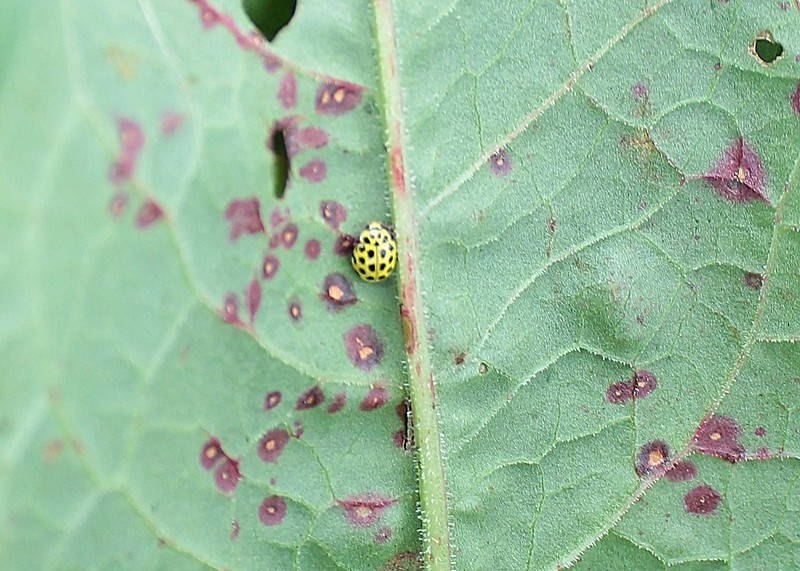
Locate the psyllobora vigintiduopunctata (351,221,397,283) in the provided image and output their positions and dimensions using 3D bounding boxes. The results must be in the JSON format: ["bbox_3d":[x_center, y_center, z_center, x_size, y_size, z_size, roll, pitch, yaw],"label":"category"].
[{"bbox_3d":[-0.075,-0.092,2.829,0.141,0.191,0.149,-4,10,-31],"label":"psyllobora vigintiduopunctata"}]
